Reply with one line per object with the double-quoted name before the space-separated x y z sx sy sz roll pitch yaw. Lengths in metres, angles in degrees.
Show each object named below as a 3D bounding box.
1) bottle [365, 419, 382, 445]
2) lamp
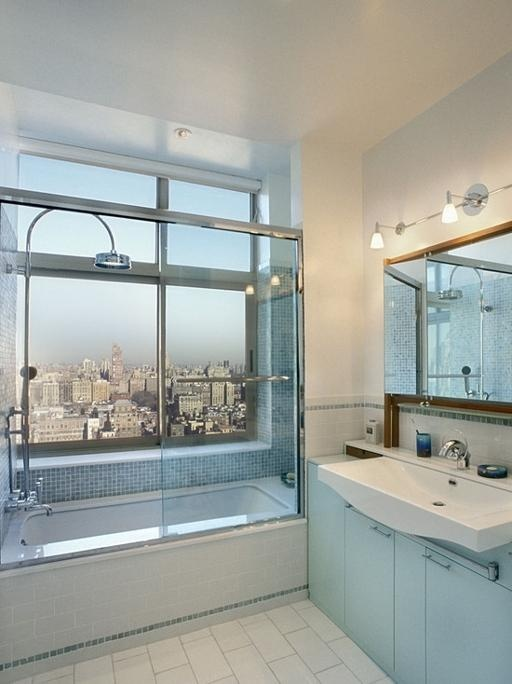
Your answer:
"bottle" 0.639 0.491 3.084 0.059 0.156 0.114 6 -8 -25
"lamp" 0.838 -0.576 2.661 0.179 0.221 0.675 -2 2 -32
